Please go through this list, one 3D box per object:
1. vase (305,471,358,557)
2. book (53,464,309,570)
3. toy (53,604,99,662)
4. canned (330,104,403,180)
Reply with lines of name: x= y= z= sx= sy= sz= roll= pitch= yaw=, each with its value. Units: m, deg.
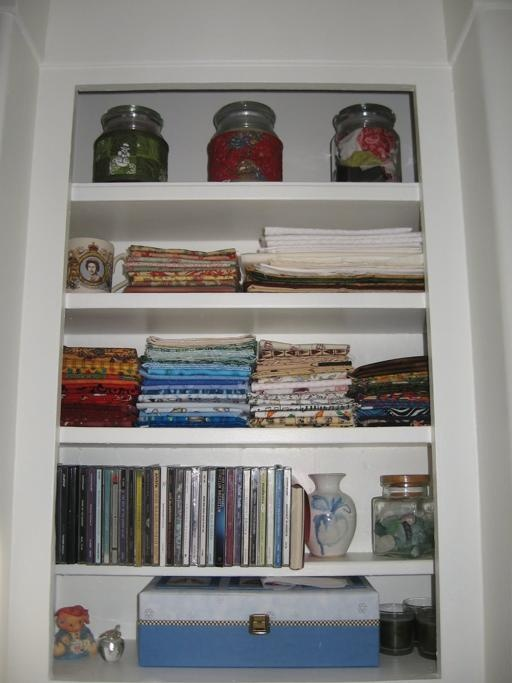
vase: x=0.170 y=0.439 z=1.743 sx=0.173 sy=0.200 sz=0.162 roll=2 pitch=-11 yaw=-11
book: x=-0.181 y=0.409 z=1.603 sx=0.577 sy=0.243 sz=0.051 roll=-1 pitch=-16 yaw=-1
toy: x=-0.445 y=0.694 z=1.633 sx=0.055 sy=0.117 sz=0.141 roll=-12 pitch=-18 yaw=33
canned: x=0.291 y=-0.522 z=1.858 sx=0.208 sy=0.190 sz=0.192 roll=1 pitch=2 yaw=-15
